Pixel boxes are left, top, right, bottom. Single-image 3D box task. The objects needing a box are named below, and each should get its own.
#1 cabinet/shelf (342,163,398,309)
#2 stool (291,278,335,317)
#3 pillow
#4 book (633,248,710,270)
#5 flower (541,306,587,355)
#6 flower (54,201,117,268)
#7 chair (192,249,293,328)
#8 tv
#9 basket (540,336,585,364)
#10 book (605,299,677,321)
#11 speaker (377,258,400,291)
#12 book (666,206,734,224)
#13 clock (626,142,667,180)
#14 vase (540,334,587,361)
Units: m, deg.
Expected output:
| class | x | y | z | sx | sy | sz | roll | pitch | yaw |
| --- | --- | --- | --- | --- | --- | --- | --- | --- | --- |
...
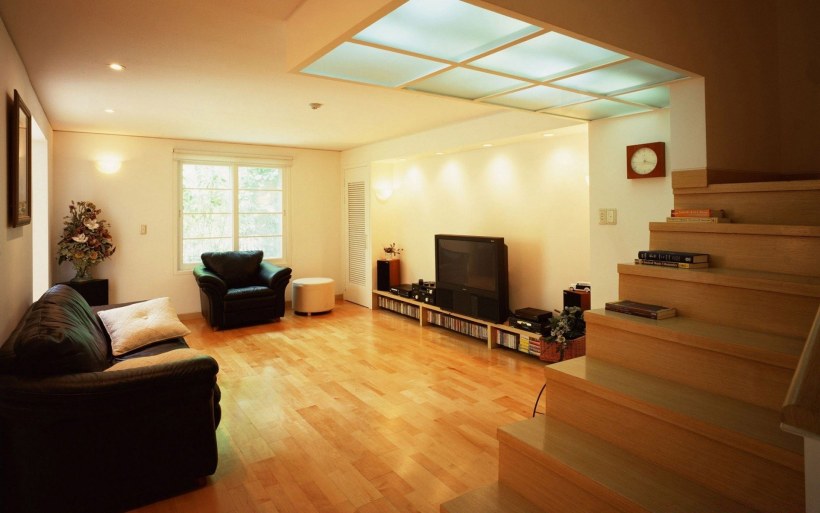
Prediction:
| class | x | y | z | sx | sy | sz | roll | pitch | yaw |
| --- | --- | --- | --- | --- | --- | --- | --- | --- | --- |
| cabinet/shelf | -0.718 | -0.378 | 8.973 | 0.452 | 2.385 | 1.015 | -5 | 9 | -31 |
| stool | -1.506 | 0.644 | 8.441 | 0.632 | 0.454 | 0.616 | -1 | 2 | -10 |
| pillow | -2.532 | 0.649 | 5.034 | 0.582 | 0.161 | 0.612 | -8 | 33 | -37 |
| book | 1.972 | 0.020 | 3.941 | 0.488 | 0.102 | 0.188 | 4 | 9 | 24 |
| flower | 1.664 | 0.806 | 5.646 | 0.418 | 0.497 | 0.384 | 2 | 8 | 15 |
| flower | -4.607 | -0.298 | 7.365 | 0.718 | 0.856 | 0.688 | 7 | 3 | 19 |
| chair | -2.530 | 0.439 | 7.844 | 1.338 | 0.958 | 0.928 | -3 | 9 | -30 |
| tv | 0.823 | 0.123 | 6.694 | 0.147 | 0.517 | 0.896 | 0 | 1 | -34 |
| basket | 1.660 | 1.017 | 5.714 | 0.369 | 0.219 | 0.358 | 1 | -3 | -23 |
| book | 1.702 | 0.389 | 3.864 | 0.459 | 0.076 | 0.241 | 6 | 10 | 36 |
| speaker | -0.344 | 0.297 | 8.481 | 0.398 | 0.506 | 0.334 | 0 | 8 | -3 |
| book | 2.308 | -0.330 | 4.168 | 0.447 | 0.107 | 0.285 | 5 | 9 | 31 |
| clock | 2.260 | -0.932 | 5.080 | 0.340 | 0.319 | 0.113 | -5 | 10 | 1 |
| vase | 1.646 | 1.018 | 5.716 | 0.418 | 0.243 | 0.407 | 0 | 0 | -24 |
